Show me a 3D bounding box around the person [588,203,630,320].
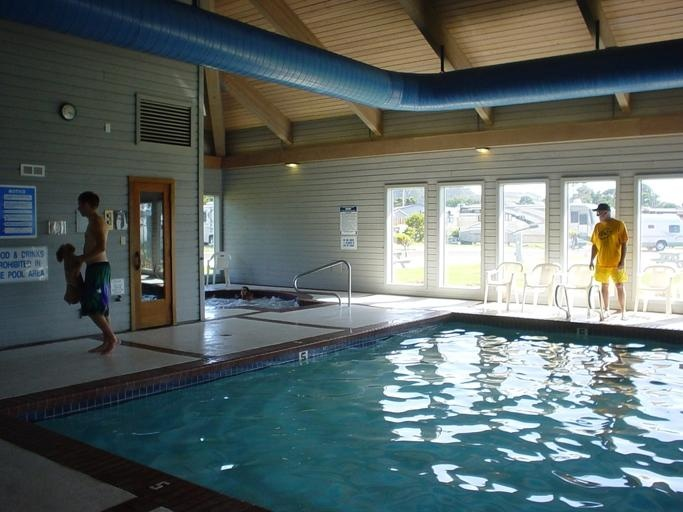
[{"bbox_3d":[4.440,0.058,8.160,0.558,1.859,0.639,3,9,22],"label":"person"}]

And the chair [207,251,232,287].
[{"bbox_3d":[-3.385,0.334,13.437,0.705,0.936,1.459,-2,7,-13],"label":"chair"}]

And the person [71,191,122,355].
[{"bbox_3d":[-2.868,0.227,5.697,0.375,1.932,0.369,-2,8,-11],"label":"person"}]

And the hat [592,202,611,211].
[{"bbox_3d":[4.310,-0.807,8.202,0.336,0.122,0.204,-2,2,18],"label":"hat"}]

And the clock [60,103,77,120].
[{"bbox_3d":[-3.641,-1.927,6.536,0.072,0.235,0.202,5,9,34],"label":"clock"}]
